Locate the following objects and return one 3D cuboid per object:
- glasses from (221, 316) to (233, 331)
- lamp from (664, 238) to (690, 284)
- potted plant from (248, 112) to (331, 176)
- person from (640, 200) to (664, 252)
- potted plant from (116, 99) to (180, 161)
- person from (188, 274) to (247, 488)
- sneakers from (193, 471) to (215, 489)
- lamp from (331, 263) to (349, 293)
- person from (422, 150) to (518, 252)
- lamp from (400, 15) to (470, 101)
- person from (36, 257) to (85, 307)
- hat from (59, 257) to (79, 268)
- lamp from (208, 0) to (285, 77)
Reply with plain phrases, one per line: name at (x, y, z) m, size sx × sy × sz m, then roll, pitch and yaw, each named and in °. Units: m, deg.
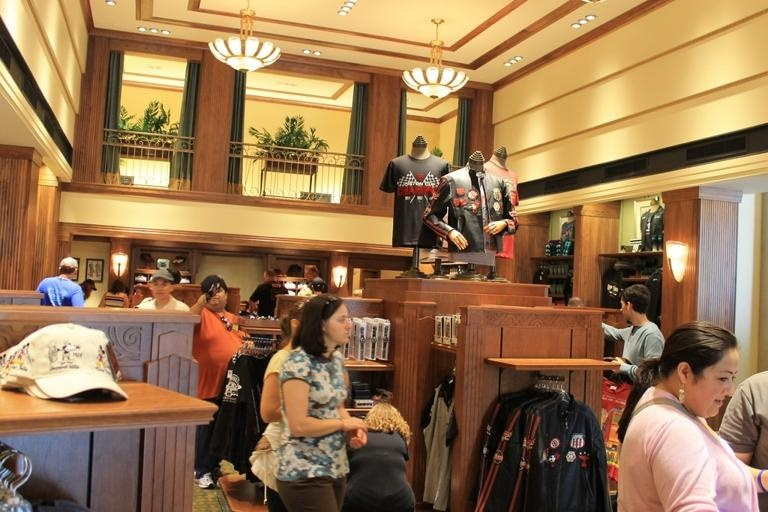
glasses at (-1.452, 0.614, 5.170) m, size 0.044 × 0.119 × 0.121 m, roll -20°, pitch -15°, yaw -1°
lamp at (4.259, 0.075, 8.043) m, size 0.139 × 0.584 × 0.321 m, roll 5°, pitch -3°, yaw -21°
potted plant at (-2.156, -2.416, 12.808) m, size 1.848 × 1.484 × 2.103 m, roll -1°, pitch 3°, yaw -16°
person at (4.470, -0.549, 9.231) m, size 0.298 × 0.951 × 0.707 m, roll 3°, pitch -3°, yaw 22°
potted plant at (-5.273, -2.851, 12.432) m, size 1.219 × 1.117 × 2.503 m, roll 5°, pitch -3°, yaw -23°
person at (-1.517, 1.121, 4.978) m, size 0.471 × 1.404 × 0.728 m, roll 5°, pitch -3°, yaw -18°
sneakers at (-1.592, 2.014, 4.990) m, size 0.090 × 0.095 × 0.223 m, roll 7°, pitch -14°, yaw -29°
lamp at (-0.937, 0.442, 12.396) m, size 0.503 × 0.786 × 0.474 m, roll -1°, pitch 5°, yaw -10°
person at (0.915, -0.520, 5.472) m, size 1.026 × 0.964 × 0.531 m, roll -3°, pitch 9°, yaw -24°
lamp at (1.082, -3.677, 10.584) m, size 1.083 × 1.516 × 1.553 m, roll 3°, pitch -3°, yaw 13°
person at (-3.621, 0.269, 6.253) m, size 0.423 × 0.491 × 0.707 m, roll 6°, pitch -3°, yaw -31°
hat at (-4.342, 0.079, 7.618) m, size 0.186 × 0.140 × 0.257 m, roll 2°, pitch 6°, yaw -18°
lamp at (-2.584, -4.097, 10.280) m, size 1.101 × 1.478 × 1.082 m, roll 9°, pitch -20°, yaw -25°
